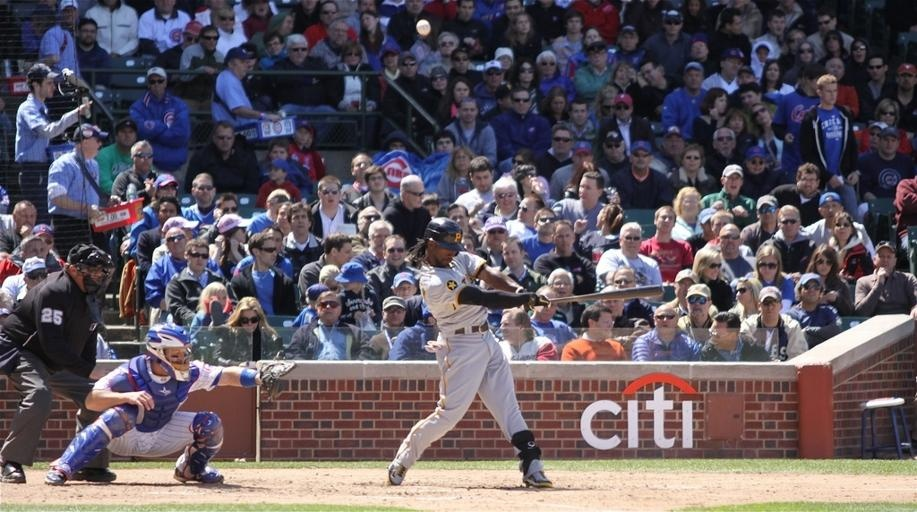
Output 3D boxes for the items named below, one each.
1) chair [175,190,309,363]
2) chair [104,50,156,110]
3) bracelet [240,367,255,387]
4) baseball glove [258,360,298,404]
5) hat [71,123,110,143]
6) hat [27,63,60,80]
[{"bbox_3d":[-3.346,0.622,33.086,1.391,2.109,1.035,0,-1,-6],"label":"chair"},{"bbox_3d":[-5.957,-3.085,37.797,0.862,0.789,0.659,0,0,-9],"label":"chair"},{"bbox_3d":[-3.092,1.786,30.713,0.187,0.231,0.242,7,11,-21],"label":"bracelet"},{"bbox_3d":[-2.642,1.818,31.019,0.524,0.659,0.262,-10,-19,22],"label":"baseball glove"},{"bbox_3d":[-6.002,-1.980,34.216,0.493,0.242,0.289,-3,13,-14],"label":"hat"},{"bbox_3d":[-6.924,-3.043,34.761,0.440,0.234,0.283,-5,15,-12],"label":"hat"}]
